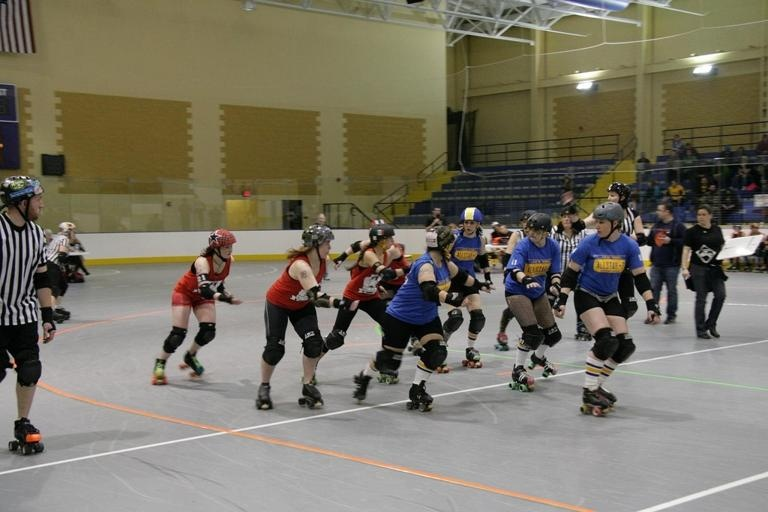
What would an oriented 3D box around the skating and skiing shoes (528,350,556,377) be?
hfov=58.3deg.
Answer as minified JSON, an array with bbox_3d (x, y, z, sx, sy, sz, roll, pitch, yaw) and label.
[{"bbox_3d":[2.250,1.559,9.930,0.201,0.270,0.565,3,0,-32],"label":"skating and skiing shoes"}]

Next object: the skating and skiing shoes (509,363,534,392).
[{"bbox_3d":[1.857,1.674,9.399,0.226,0.246,0.414,-1,-2,-30],"label":"skating and skiing shoes"}]

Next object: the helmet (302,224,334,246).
[{"bbox_3d":[-0.827,-0.269,8.736,0.343,0.261,0.336,-1,9,1],"label":"helmet"}]

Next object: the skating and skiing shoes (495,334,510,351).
[{"bbox_3d":[1.992,1.452,11.623,0.242,0.281,0.295,1,-5,-20],"label":"skating and skiing shoes"}]

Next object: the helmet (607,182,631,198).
[{"bbox_3d":[3.970,-1.115,11.655,0.311,0.224,0.252,1,10,12],"label":"helmet"}]

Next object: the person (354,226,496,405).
[{"bbox_3d":[0.533,0.746,8.789,1.543,2.266,1.045,-9,13,-38],"label":"person"}]

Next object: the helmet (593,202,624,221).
[{"bbox_3d":[2.806,-0.566,8.589,0.331,0.255,0.242,8,-2,5],"label":"helmet"}]

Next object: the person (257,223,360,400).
[{"bbox_3d":[-1.062,0.764,8.765,1.219,2.312,1.165,-6,12,-23],"label":"person"}]

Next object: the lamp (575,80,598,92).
[{"bbox_3d":[10.209,-8.702,35.048,0.402,0.573,0.926,-10,13,-41],"label":"lamp"}]

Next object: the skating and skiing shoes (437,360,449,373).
[{"bbox_3d":[0.869,1.616,10.027,0.153,0.162,0.421,-1,-11,7],"label":"skating and skiing shoes"}]

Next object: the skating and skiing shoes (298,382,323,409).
[{"bbox_3d":[-0.923,1.755,8.690,0.301,0.285,0.205,-2,10,-7],"label":"skating and skiing shoes"}]

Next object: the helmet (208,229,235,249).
[{"bbox_3d":[-2.217,-0.239,9.436,0.385,0.208,0.264,14,18,22],"label":"helmet"}]

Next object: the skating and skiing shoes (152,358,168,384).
[{"bbox_3d":[-3.174,1.618,9.749,0.209,0.341,0.277,-5,11,-19],"label":"skating and skiing shoes"}]

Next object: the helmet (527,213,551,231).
[{"bbox_3d":[2.082,-0.443,9.271,0.311,0.250,0.287,1,10,10],"label":"helmet"}]

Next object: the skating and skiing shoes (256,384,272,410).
[{"bbox_3d":[-1.505,1.761,8.678,0.204,0.286,0.243,-3,10,-10],"label":"skating and skiing shoes"}]

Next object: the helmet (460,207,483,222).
[{"bbox_3d":[1.429,-0.651,11.191,0.408,0.230,0.506,6,5,3],"label":"helmet"}]

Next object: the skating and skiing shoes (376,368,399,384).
[{"bbox_3d":[0.043,1.666,9.605,0.275,0.140,0.345,0,0,7],"label":"skating and skiing shoes"}]

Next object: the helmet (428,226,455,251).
[{"bbox_3d":[0.653,-0.228,8.642,0.269,0.298,0.350,10,17,38],"label":"helmet"}]

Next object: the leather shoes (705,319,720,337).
[{"bbox_3d":[5.880,1.289,12.356,0.225,0.297,0.255,3,11,22],"label":"leather shoes"}]
